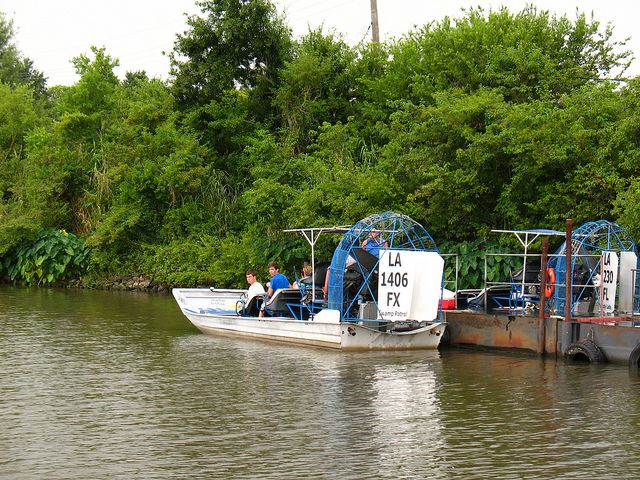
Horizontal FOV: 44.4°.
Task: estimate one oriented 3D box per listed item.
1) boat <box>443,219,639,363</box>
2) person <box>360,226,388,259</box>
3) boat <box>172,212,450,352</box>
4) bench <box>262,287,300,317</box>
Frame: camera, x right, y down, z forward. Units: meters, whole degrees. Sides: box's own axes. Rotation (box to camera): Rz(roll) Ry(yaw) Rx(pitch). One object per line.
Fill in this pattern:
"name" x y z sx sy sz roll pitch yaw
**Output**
"boat" 5.745 1.278 20.185 5.016 3.549 0.710 7 12 43
"person" 1.633 -0.031 21.854 0.838 0.937 0.830 2 17 29
"boat" 0.988 0.554 25.840 9.140 3.830 10.822 3 9 29
"bench" -1.091 1.735 22.051 0.770 0.754 0.871 -1 2 -28
